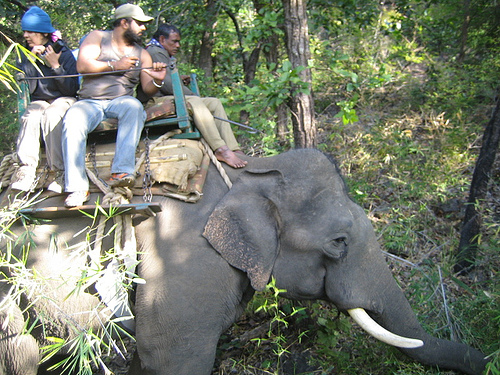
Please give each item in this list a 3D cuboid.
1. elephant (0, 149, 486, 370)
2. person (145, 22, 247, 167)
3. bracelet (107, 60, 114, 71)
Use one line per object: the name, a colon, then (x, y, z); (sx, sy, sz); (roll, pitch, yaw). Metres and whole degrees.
elephant: (-0.070, 0.752, 3.812); (3.781, 1.904, 1.149); (-2, 19, -10)
person: (-0.485, -0.882, 4.407); (1.433, 0.769, 0.480); (40, 30, 11)
bracelet: (-1.295, -1.131, 4.139); (0.077, 0.081, 0.027); (-1, 12, 39)
